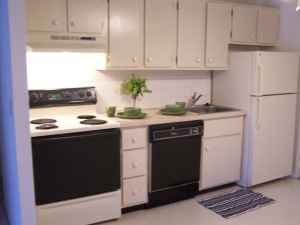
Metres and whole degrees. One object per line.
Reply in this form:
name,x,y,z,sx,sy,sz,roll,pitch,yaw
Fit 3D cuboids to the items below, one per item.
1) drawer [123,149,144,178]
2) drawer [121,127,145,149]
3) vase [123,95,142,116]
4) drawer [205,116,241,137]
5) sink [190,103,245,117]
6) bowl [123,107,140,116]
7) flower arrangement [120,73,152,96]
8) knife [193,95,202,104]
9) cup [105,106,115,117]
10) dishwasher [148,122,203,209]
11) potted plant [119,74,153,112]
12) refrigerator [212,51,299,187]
drawer,-0.254,0.586,2.805,0.337,0.312,0.251,2,-6,-34
drawer,-0.225,0.293,2.758,0.328,0.263,0.183,-4,7,-34
vase,-0.246,-0.108,2.973,0.254,0.352,0.259,-1,10,-13
drawer,0.960,0.183,3.222,0.388,0.169,0.265,-4,14,-20
sink,0.930,-0.047,3.550,0.342,0.122,0.281,-6,14,-28
bowl,-0.225,-0.022,2.881,0.124,0.048,0.109,4,7,24
flower arrangement,-0.144,-0.343,2.960,0.267,0.173,0.256,5,28,-11
knife,0.700,-0.193,3.645,0.115,0.145,0.243,2,10,11
cup,-0.467,-0.011,2.869,0.107,0.109,0.105,1,8,0
dishwasher,0.182,0.552,3.215,0.832,1.041,0.765,-7,14,-34
potted plant,-0.175,-0.272,3.147,0.479,0.494,0.497,1,5,2
refrigerator,1.619,0.092,3.573,1.154,1.919,0.609,0,10,-4
